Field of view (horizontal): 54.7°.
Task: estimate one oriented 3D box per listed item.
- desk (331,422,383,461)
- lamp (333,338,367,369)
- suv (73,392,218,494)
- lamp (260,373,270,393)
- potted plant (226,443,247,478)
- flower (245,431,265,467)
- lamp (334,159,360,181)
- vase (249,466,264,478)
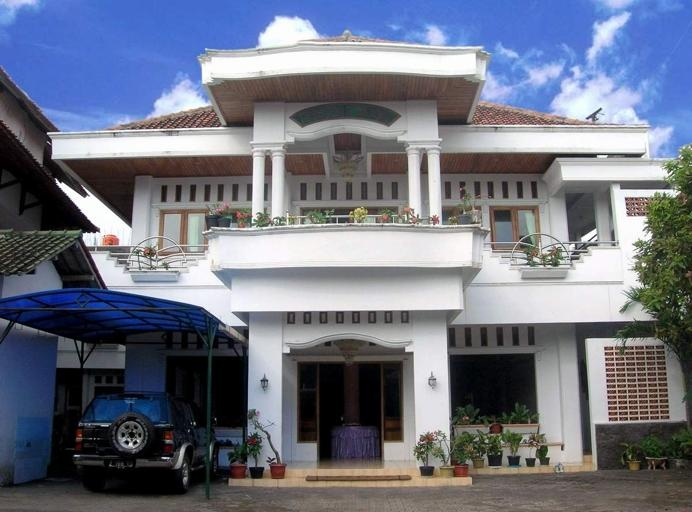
[{"bbox_3d":[0.390,5.831,20.991,1.404,0.850,1.426,-2,-17,4],"label":"desk"},{"bbox_3d":[0.114,2.741,19.545,0.993,0.739,0.993,2,-15,-7],"label":"lamp"},{"bbox_3d":[-4.641,4.364,16.317,2.088,1.649,3.623,-1,-8,3],"label":"suv"},{"bbox_3d":[-2.152,3.357,17.743,0.250,0.456,0.096,2,-16,-13],"label":"lamp"},{"bbox_3d":[-2.813,5.361,17.541,0.725,0.888,0.390,-16,-21,42],"label":"potted plant"},{"bbox_3d":[-2.387,5.028,17.472,0.424,0.839,0.356,1,-16,-9],"label":"flower"},{"bbox_3d":[0.045,-2.862,21.634,0.762,0.565,0.724,-1,-9,3],"label":"lamp"},{"bbox_3d":[-2.319,5.617,17.378,0.294,0.188,0.297,-1,-18,12],"label":"vase"}]
